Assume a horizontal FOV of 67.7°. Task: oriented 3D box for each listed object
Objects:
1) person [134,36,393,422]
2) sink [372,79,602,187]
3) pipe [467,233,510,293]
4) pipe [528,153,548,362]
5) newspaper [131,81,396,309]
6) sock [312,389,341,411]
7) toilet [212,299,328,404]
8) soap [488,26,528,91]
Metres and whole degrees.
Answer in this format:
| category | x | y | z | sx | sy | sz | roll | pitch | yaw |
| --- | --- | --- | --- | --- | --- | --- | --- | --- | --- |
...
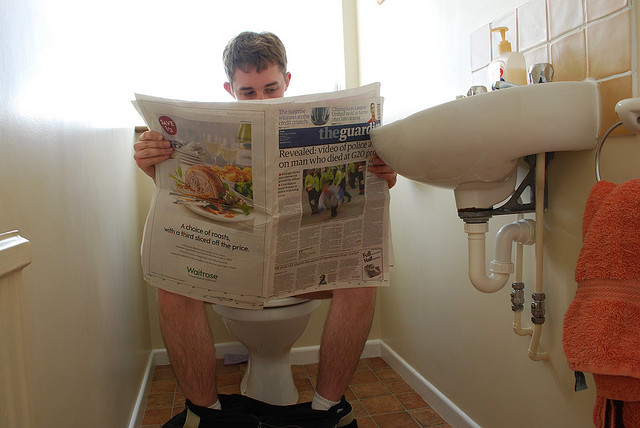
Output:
| category | x | y | z | sx | sy | sz | roll | pitch | yaw |
| --- | --- | --- | --- | --- | --- | --- | --- | --- | --- |
| person | -0.192 | 0.005 | 1.506 | 0.679 | 1.153 | 0.612 | -11 | 14 | -29 |
| sink | 0.392 | -0.181 | 1.162 | 0.507 | 0.235 | 0.184 | -3 | 12 | 4 |
| pipe | 0.435 | 0.127 | 1.262 | 0.091 | 0.160 | 0.095 | -8 | 13 | -20 |
| pipe | 0.567 | 0.124 | 1.214 | 0.045 | 0.549 | 0.061 | 2 | 13 | 26 |
| newspaper | -0.162 | -0.031 | 1.361 | 0.742 | 0.631 | 0.173 | -3 | 12 | 3 |
| sock | 0.015 | 0.567 | 1.463 | 0.057 | 0.048 | 0.054 | 11 | -15 | -8 |
| toilet | -0.210 | 0.458 | 1.767 | 0.367 | 0.381 | 0.443 | 0 | -3 | -38 |
| soap | 0.487 | -0.402 | 1.227 | 0.093 | 0.159 | 0.142 | 1 | 13 | 23 |
